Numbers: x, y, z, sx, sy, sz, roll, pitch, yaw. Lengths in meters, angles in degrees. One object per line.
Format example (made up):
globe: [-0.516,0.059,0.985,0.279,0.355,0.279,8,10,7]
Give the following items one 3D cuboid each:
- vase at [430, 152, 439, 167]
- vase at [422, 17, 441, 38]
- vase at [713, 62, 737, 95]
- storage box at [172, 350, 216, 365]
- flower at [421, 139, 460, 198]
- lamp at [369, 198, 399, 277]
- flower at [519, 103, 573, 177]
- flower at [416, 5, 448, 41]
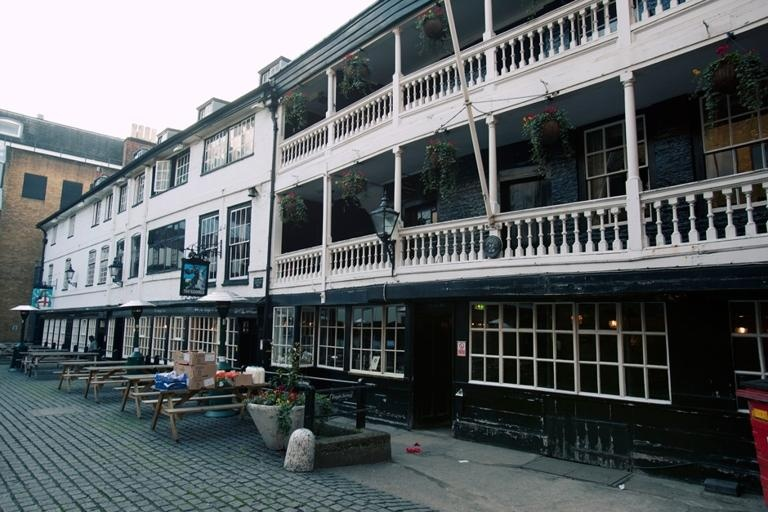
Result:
vase: [1.306,-2.495,14.437,0.224,0.300,0.142,3,7,28]
vase: [1.220,-5.904,14.662,0.472,0.309,0.453,0,-1,0]
vase: [6.774,-3.508,11.365,0.534,0.563,0.527,-3,-1,26]
storage box: [-4.791,2.645,14.650,0.644,0.222,0.612,-1,-4,41]
flower: [1.467,-2.194,14.731,1.085,1.486,0.701,3,14,15]
lamp: [0.081,-0.514,14.757,0.581,2.059,0.668,5,7,35]
flower: [3.703,-2.950,13.086,0.689,0.787,0.666,-25,15,34]
flower: [1.227,-6.042,14.982,0.837,0.805,0.830,2,-7,-1]
